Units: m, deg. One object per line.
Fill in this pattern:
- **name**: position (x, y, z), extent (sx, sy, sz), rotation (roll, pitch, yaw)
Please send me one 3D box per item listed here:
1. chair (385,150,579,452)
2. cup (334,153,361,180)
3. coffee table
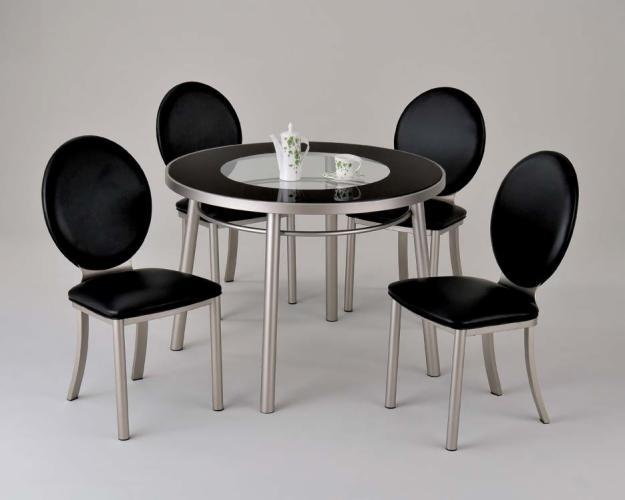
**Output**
- **chair**: position (0.654, 0.148, 2.292), extent (0.594, 1.043, 0.515), rotation (-5, 12, -15)
- **cup**: position (0.162, -0.360, 2.600), extent (0.142, 0.111, 0.093), rotation (-2, 2, -38)
- **coffee table**: position (-0.041, 0.080, 2.905), extent (1.299, 0.998, 1.274), rotation (16, 23, 32)
